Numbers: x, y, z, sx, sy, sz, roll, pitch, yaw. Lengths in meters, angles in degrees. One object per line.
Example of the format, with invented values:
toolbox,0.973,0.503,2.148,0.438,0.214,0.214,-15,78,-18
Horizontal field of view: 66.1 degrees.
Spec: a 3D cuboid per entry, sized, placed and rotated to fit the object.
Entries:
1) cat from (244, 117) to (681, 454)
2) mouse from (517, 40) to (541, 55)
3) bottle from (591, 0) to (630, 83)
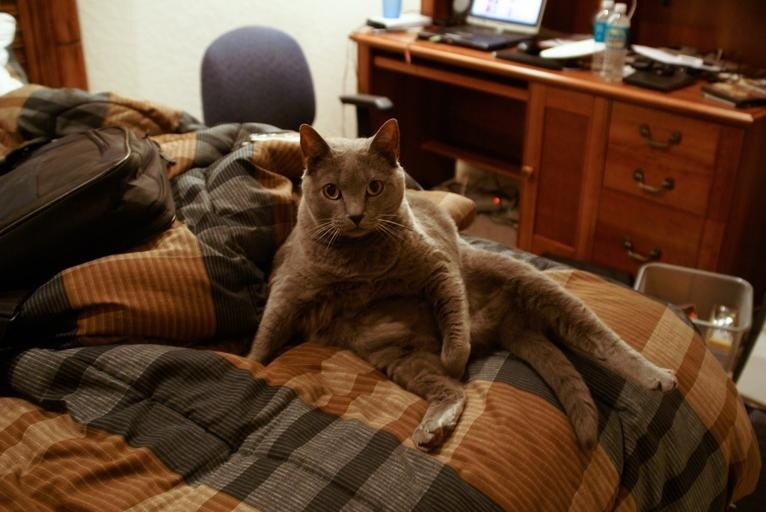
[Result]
cat,0.223,0.078,1.992,1.390,0.824,0.973,-5,63,7
mouse,0.666,-0.940,2.668,0.088,0.036,0.088,-7,22,-18
bottle,0.967,-0.896,2.463,0.131,0.284,0.270,4,26,4
